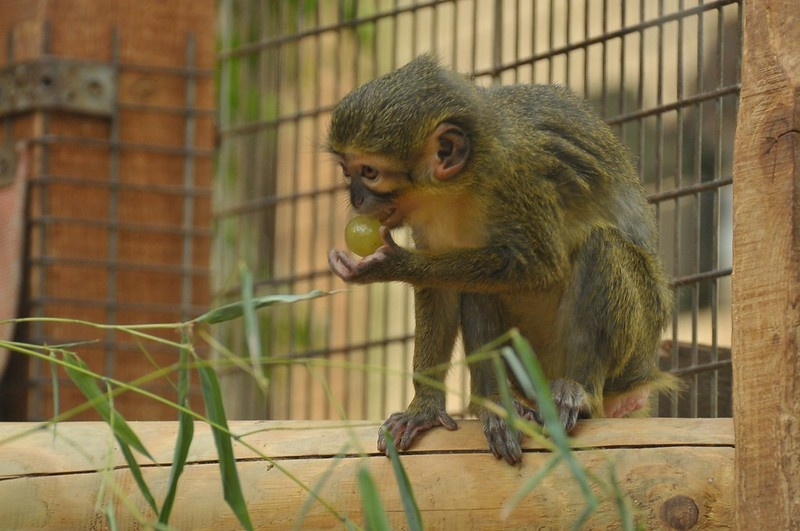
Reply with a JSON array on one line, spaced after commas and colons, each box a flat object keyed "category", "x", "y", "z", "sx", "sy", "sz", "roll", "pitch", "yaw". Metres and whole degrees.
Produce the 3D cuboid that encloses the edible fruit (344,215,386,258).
[{"category": "edible fruit", "x": -0.213, "y": -0.167, "z": 10.786, "sx": 0.217, "sy": 0.257, "sz": 0.223, "roll": 0, "pitch": -12, "yaw": -28}]
